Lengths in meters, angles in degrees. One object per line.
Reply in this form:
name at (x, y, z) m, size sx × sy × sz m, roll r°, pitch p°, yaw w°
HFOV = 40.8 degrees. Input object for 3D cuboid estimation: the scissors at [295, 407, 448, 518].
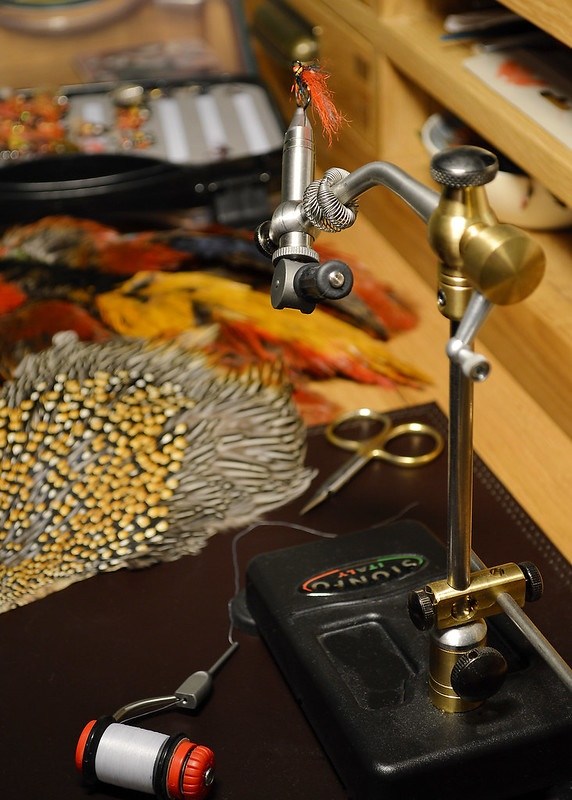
scissors at (0.066, 0.058, 0.680) m, size 0.117 × 0.010 × 0.157 m, roll 12°, pitch 36°, yaw 31°
